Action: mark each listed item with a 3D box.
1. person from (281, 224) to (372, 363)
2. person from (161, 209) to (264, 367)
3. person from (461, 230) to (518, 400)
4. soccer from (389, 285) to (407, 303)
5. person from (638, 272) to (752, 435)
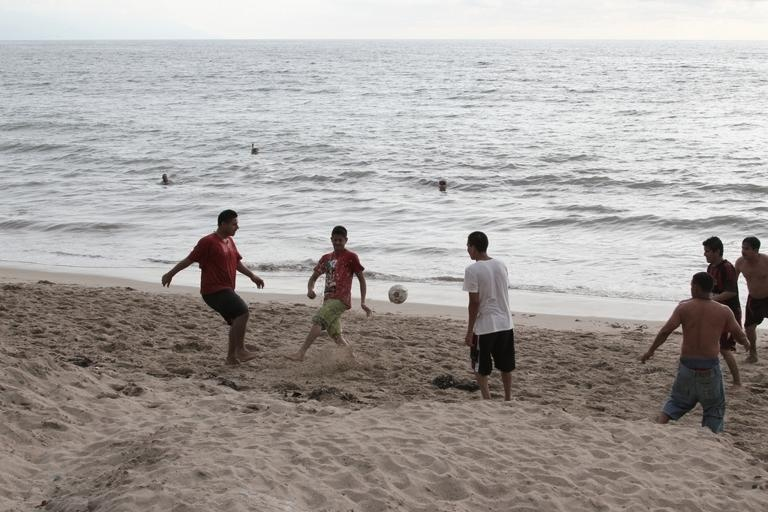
[{"bbox_3d":[-0.870,0.584,13.725,1.227,2.243,0.904,0,17,-2],"label":"person"},{"bbox_3d":[-2.701,0.527,13.363,0.918,2.490,0.608,-6,19,-20],"label":"person"},{"bbox_3d":[1.565,0.924,12.417,0.782,2.541,0.612,2,18,6],"label":"person"},{"bbox_3d":[0.254,0.806,16.832,0.332,0.443,0.414,0,16,-2],"label":"soccer"},{"bbox_3d":[4.476,1.395,11.824,1.078,2.261,0.743,8,19,24],"label":"person"}]
